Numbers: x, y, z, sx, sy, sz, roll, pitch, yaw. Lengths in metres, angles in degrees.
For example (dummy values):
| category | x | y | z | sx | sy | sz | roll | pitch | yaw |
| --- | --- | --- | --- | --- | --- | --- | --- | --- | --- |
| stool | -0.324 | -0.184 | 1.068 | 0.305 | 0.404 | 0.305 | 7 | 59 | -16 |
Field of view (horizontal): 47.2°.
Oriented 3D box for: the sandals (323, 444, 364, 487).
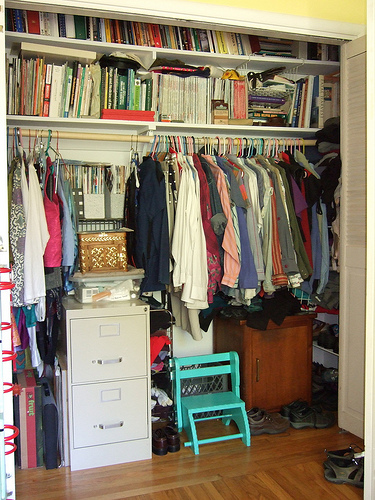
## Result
| category | x | y | z | sx | sy | sz | roll | pitch | yaw |
| --- | --- | --- | --- | --- | --- | --- | --- | --- | --- |
| sandals | 0.752 | 1.027 | 2.095 | 0.180 | 0.127 | 0.305 | 4 | 6 | 20 |

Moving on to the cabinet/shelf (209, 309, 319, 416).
| category | x | y | z | sx | sy | sz | roll | pitch | yaw |
| --- | --- | --- | --- | --- | --- | --- | --- | --- | --- |
| cabinet/shelf | 0.520 | 0.663 | 2.982 | 0.618 | 0.864 | 0.563 | -1 | 2 | -20 |

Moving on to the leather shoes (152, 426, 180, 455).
| category | x | y | z | sx | sy | sz | roll | pitch | yaw |
| --- | --- | --- | --- | --- | --- | --- | --- | --- | --- |
| leather shoes | -0.128 | 1.050 | 2.351 | 0.079 | 0.054 | 0.145 | -1 | 2 | -15 |

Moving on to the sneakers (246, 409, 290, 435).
| category | x | y | z | sx | sy | sz | roll | pitch | yaw |
| --- | --- | --- | --- | --- | --- | --- | --- | --- | --- |
| sneakers | 0.461 | 1.019 | 2.553 | 0.188 | 0.074 | 0.133 | -2 | 8 | -14 |

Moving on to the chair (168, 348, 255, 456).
| category | x | y | z | sx | sy | sz | roll | pitch | yaw |
| --- | --- | --- | --- | --- | --- | --- | --- | --- | --- |
| chair | 0.134 | 0.889 | 2.531 | 0.386 | 0.499 | 0.358 | -2 | -3 | -15 |

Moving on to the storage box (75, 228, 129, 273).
| category | x | y | z | sx | sy | sz | roll | pitch | yaw |
| --- | --- | --- | --- | --- | --- | --- | --- | --- | --- |
| storage box | -0.450 | 0.013 | 2.282 | 0.319 | 0.285 | 0.198 | -2 | 9 | -15 |

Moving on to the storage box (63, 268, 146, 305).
| category | x | y | z | sx | sy | sz | roll | pitch | yaw |
| --- | --- | --- | --- | --- | --- | --- | --- | --- | --- |
| storage box | -0.431 | 0.183 | 2.304 | 0.272 | 0.121 | 0.194 | -2 | 3 | -19 |

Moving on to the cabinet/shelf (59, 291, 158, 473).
| category | x | y | z | sx | sy | sz | roll | pitch | yaw |
| --- | --- | --- | --- | --- | --- | --- | --- | --- | --- |
| cabinet/shelf | -0.443 | 0.690 | 2.352 | 0.510 | 0.779 | 0.526 | -2 | 3 | -29 |

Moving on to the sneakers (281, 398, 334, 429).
| category | x | y | z | sx | sy | sz | roll | pitch | yaw |
| --- | --- | --- | --- | --- | --- | --- | --- | --- | --- |
| sneakers | 0.726 | 1.001 | 2.624 | 0.218 | 0.100 | 0.136 | -1 | 12 | -10 |

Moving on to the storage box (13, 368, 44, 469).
| category | x | y | z | sx | sy | sz | roll | pitch | yaw |
| --- | --- | --- | --- | --- | --- | --- | --- | --- | --- |
| storage box | -0.828 | 0.876 | 2.238 | 0.134 | 0.434 | 0.273 | -1 | 6 | -22 |
